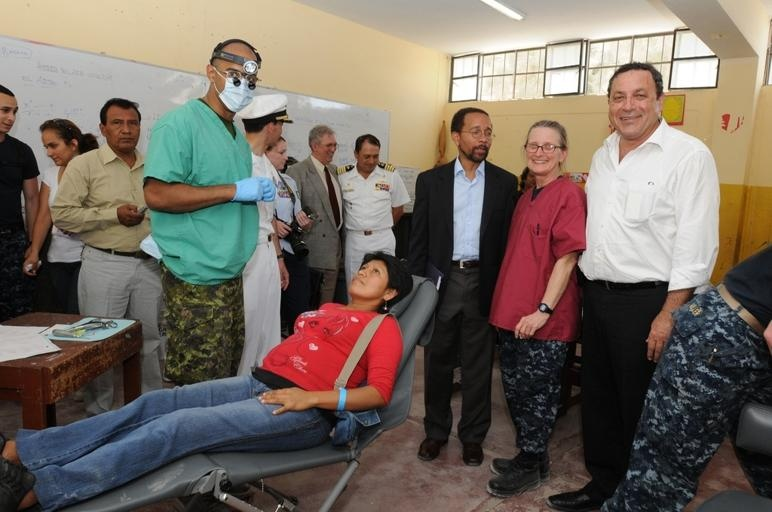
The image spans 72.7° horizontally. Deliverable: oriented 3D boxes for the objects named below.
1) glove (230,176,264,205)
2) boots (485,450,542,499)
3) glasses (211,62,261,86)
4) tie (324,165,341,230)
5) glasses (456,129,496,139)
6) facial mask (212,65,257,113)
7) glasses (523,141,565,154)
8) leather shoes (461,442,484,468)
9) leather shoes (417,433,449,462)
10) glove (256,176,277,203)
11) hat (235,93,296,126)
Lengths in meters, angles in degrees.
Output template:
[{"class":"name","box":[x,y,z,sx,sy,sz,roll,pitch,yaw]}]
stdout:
[{"class":"glove","box":[-0.696,-0.327,2.669,0.152,0.134,0.120,-1,14,-10]},{"class":"boots","box":[0.776,1.254,3.081,0.326,0.203,0.279,6,14,17]},{"class":"glasses","box":[-0.779,-0.922,2.695,0.235,0.111,0.099,-3,14,-19]},{"class":"tie","box":[-0.505,-0.547,4.911,0.108,0.533,0.211,-7,16,-31]},{"class":"glasses","box":[0.589,-0.767,3.301,0.238,0.062,0.113,-4,15,-24]},{"class":"facial mask","box":[-0.767,-0.835,2.686,0.185,0.189,0.172,7,7,-7]},{"class":"glasses","box":[0.924,-0.622,3.046,0.221,0.054,0.078,4,14,9]},{"class":"leather shoes","box":[0.543,1.227,3.305,0.138,0.098,0.144,5,14,12]},{"class":"leather shoes","box":[0.293,1.211,3.310,0.085,0.095,0.218,-6,-12,32]},{"class":"glove","box":[-0.618,-0.345,2.721,0.107,0.131,0.181,-4,14,-16]},{"class":"hat","box":[-0.744,-0.915,3.322,0.291,0.113,0.241,-20,36,-33]}]
